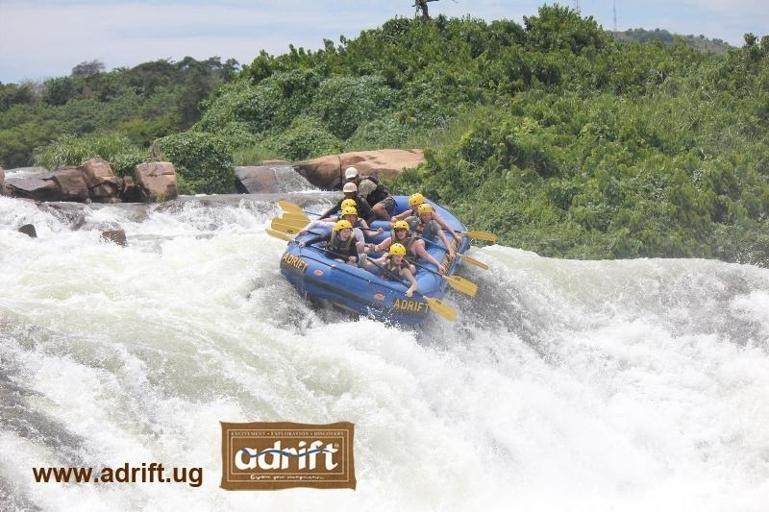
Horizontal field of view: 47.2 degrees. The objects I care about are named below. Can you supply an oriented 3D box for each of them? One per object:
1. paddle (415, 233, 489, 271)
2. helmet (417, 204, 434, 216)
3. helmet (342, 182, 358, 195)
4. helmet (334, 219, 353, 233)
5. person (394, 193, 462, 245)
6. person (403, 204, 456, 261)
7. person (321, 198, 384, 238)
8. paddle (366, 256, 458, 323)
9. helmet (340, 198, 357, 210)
[{"bbox_3d":[1.607,-0.098,21.781,2.240,0.585,0.320,22,-9,-42],"label":"paddle"},{"bbox_3d":[1.001,-1.131,21.686,0.238,0.337,0.249,-5,54,-6],"label":"helmet"},{"bbox_3d":[-0.862,-1.726,22.465,0.507,0.262,0.650,0,14,2],"label":"helmet"},{"bbox_3d":[-0.949,-0.710,20.582,0.320,0.203,0.259,13,14,37],"label":"helmet"},{"bbox_3d":[1.214,-0.942,22.095,1.700,0.575,1.101,34,-10,-19],"label":"person"},{"bbox_3d":[1.079,-0.532,21.570,1.256,0.439,1.288,35,44,29],"label":"person"},{"bbox_3d":[-0.786,-0.849,21.479,0.916,0.580,1.295,-9,14,-36],"label":"person"},{"bbox_3d":[0.971,0.971,20.251,1.590,0.392,0.170,33,0,7],"label":"paddle"},{"bbox_3d":[-0.888,-1.290,21.701,0.237,0.182,0.341,3,15,27],"label":"helmet"}]
